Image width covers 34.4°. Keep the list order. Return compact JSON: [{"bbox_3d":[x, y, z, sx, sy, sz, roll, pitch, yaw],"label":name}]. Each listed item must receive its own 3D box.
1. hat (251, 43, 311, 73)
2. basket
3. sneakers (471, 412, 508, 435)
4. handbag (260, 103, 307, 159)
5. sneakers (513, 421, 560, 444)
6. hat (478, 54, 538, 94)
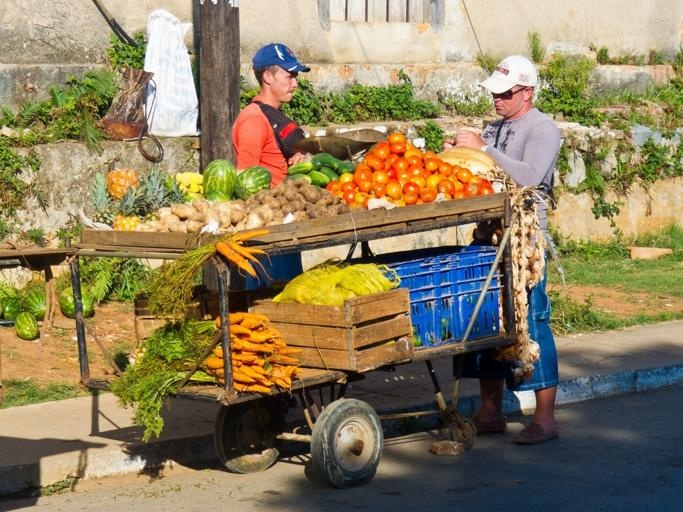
[{"bbox_3d":[-0.655,-1.965,10.994,0.437,0.260,0.297,-1,12,2],"label":"hat"},{"bbox_3d":[0.999,0.354,10.059,1.226,1.222,0.777,-3,2,-23],"label":"basket"},{"bbox_3d":[1.450,1.666,11.036,0.391,0.185,0.152,3,3,-10],"label":"sneakers"},{"bbox_3d":[-0.564,-1.224,10.826,0.386,0.575,0.369,-6,12,-25],"label":"handbag"},{"bbox_3d":[1.854,1.700,10.658,0.379,0.155,0.191,-4,0,-23],"label":"sneakers"},{"bbox_3d":[1.601,-1.741,10.633,0.501,0.361,0.248,-3,4,5],"label":"hat"}]
